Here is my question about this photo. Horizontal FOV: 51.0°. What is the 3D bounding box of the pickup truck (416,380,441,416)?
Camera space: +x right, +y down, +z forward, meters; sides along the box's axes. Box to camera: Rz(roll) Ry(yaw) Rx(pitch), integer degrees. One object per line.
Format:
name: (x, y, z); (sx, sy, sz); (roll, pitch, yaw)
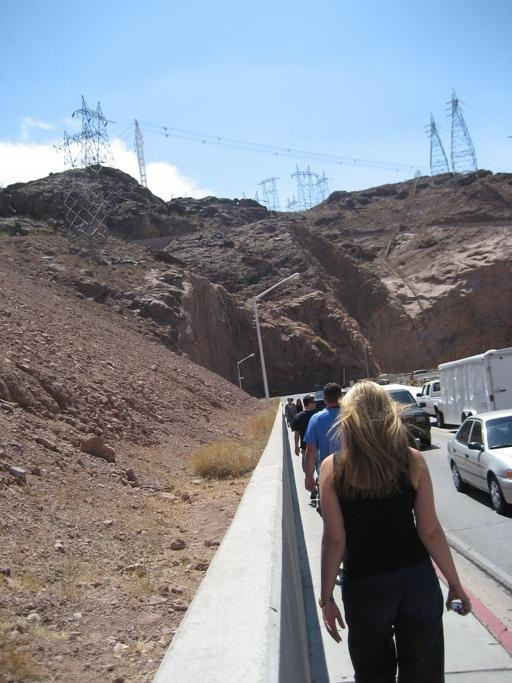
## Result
pickup truck: (7.672, 2.429, 23.607); (1.060, 1.080, 2.145); (-1, 4, 1)
